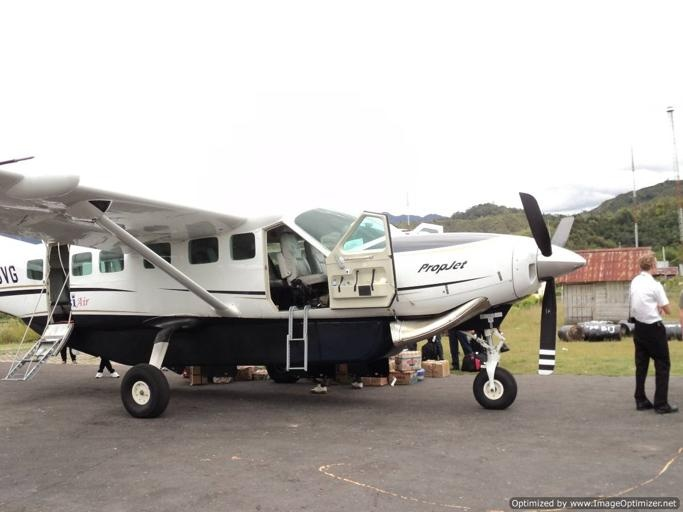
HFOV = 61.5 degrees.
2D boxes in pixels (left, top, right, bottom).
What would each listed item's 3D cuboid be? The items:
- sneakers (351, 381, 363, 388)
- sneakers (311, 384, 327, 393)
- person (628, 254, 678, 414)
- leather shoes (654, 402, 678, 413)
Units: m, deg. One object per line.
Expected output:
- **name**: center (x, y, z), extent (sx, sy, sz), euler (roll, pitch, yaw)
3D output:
- **sneakers**: center (0.286, 2.300, 10.260), extent (0.158, 0.091, 0.094), euler (-5, -5, 38)
- **sneakers**: center (-0.402, 2.300, 9.931), extent (0.348, 0.120, 0.105), euler (2, -7, -10)
- **person**: center (4.109, 1.009, 7.617), extent (0.526, 2.052, 1.091), euler (-5, -6, 25)
- **leather shoes**: center (4.205, 1.930, 7.384), extent (0.366, 0.159, 0.124), euler (0, -5, -14)
